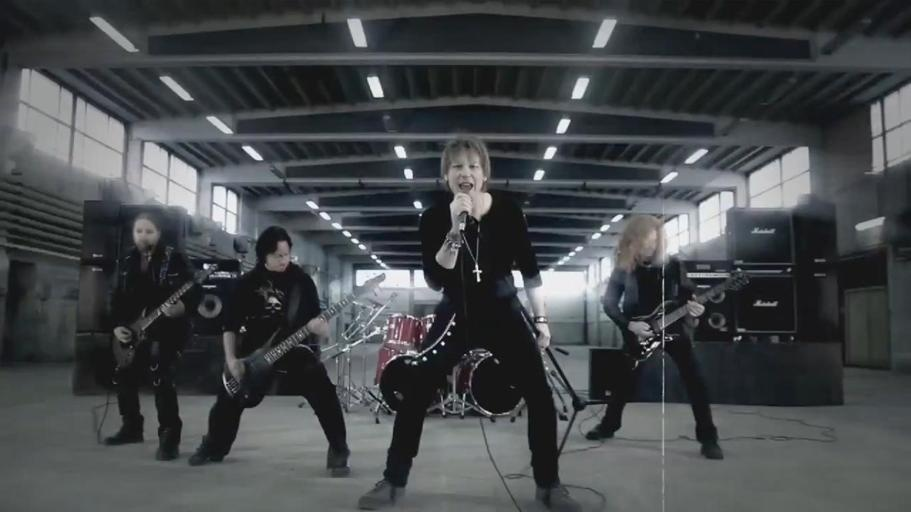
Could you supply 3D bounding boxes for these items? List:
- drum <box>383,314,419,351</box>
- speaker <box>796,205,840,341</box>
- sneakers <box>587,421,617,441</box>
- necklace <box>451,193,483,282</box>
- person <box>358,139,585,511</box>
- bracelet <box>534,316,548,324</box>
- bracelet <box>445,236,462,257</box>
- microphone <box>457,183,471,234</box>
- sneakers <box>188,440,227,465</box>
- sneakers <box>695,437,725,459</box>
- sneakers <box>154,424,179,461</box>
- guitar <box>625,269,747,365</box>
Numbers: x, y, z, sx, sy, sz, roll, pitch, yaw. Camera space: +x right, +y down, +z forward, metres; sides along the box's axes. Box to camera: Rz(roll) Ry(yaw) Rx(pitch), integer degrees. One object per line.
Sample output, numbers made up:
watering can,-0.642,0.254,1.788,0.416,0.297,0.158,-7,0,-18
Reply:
drum,-0.491,0.715,6.085,0.409,0.353,0.291,-4,-9,4
speaker,3.298,0.178,5.845,0.359,1.185,0.423,-4,-12,27
sneakers,1.178,1.434,5.235,0.280,0.160,0.092,2,-11,-6
necklace,0.060,-0.136,4.291,0.263,0.176,0.673,-31,21,16
person,0.132,0.453,4.359,1.310,2.488,0.616,-1,-11,10
bracelet,0.591,0.421,4.355,0.075,0.048,0.077,2,-6,-31
bracelet,-0.011,-0.076,4.272,0.107,0.114,0.123,3,-9,-4
microphone,0.066,-0.331,4.300,0.070,0.347,0.123,-4,-12,25
sneakers,-1.857,1.456,4.780,0.251,0.203,0.081,4,-11,-20
sneakers,1.947,1.466,4.859,0.167,0.134,0.131,0,-20,6
sneakers,-2.203,1.428,4.899,0.170,0.248,0.062,4,-11,-16
guitar,1.880,0.508,5.278,0.912,0.316,0.124,-32,-4,11
